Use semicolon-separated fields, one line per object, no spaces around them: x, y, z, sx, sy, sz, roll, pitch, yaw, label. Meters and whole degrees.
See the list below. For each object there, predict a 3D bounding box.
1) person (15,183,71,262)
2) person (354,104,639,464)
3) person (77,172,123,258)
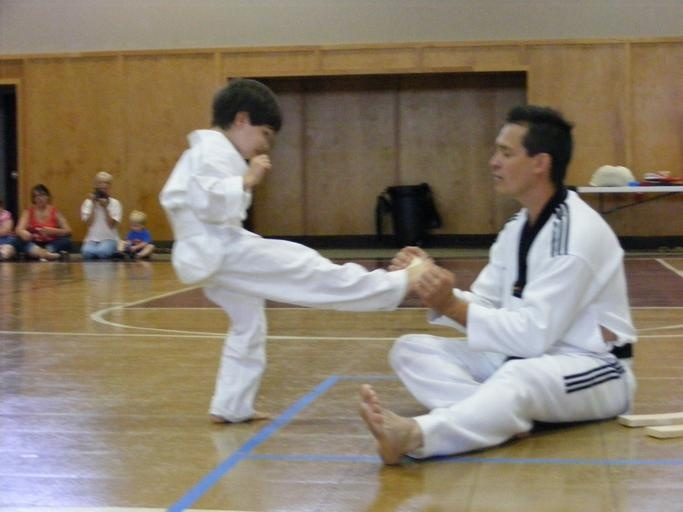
-2.920;-0.298;9.035;0.730;0.855;0.730;-1;6;-14;person
0.511;0.059;3.139;0.998;1.142;0.494;-6;12;-30;person
-2.414;-0.408;9.212;0.418;0.858;0.325;-4;11;-17;person
